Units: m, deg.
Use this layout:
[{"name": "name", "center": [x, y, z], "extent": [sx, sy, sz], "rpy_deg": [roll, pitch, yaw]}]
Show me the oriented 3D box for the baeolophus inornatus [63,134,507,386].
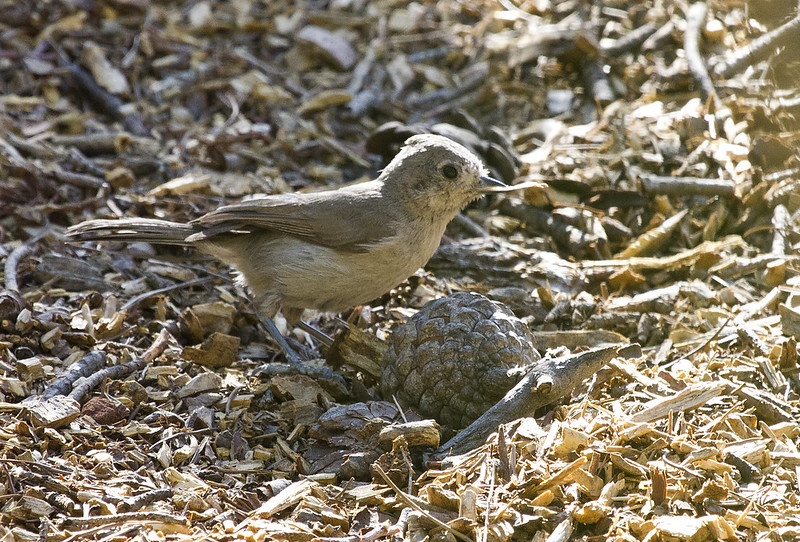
[{"name": "baeolophus inornatus", "center": [-0.825, -0.123, 6.036], "extent": [3.064, 0.851, 1.473], "rpy_deg": [0, 88, 10]}]
